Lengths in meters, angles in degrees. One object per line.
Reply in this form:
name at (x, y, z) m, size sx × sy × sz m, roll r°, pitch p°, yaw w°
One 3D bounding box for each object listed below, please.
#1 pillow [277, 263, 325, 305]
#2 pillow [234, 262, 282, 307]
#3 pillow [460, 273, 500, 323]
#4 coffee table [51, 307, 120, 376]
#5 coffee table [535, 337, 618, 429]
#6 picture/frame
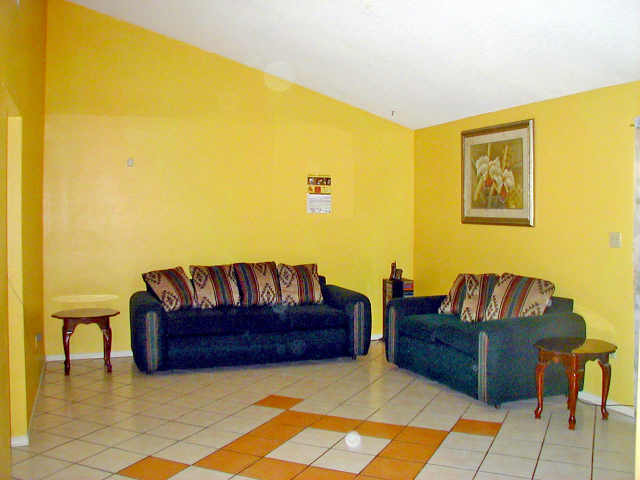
pillow at (-0.254, 0.566, 6.252) m, size 0.595 × 0.197 × 0.682 m, roll 1°, pitch 44°, yaw -12°
pillow at (-0.709, 0.504, 6.016) m, size 0.457 × 0.506 × 0.212 m, roll -4°, pitch -29°, yaw -28°
pillow at (1.654, 0.567, 5.394) m, size 0.133 × 0.467 × 0.421 m, roll 25°, pitch -12°, yaw -24°
coffee table at (-2.536, 1.092, 5.637) m, size 0.666 × 0.638 × 0.620 m, roll 0°, pitch 1°, yaw -26°
coffee table at (2.186, 1.199, 4.473) m, size 0.620 × 0.610 × 0.636 m, roll -2°, pitch 0°, yaw -12°
picture/frame at (1.984, -0.742, 5.799) m, size 0.109 × 1.117 × 1.063 m, roll -3°, pitch 7°, yaw -25°
